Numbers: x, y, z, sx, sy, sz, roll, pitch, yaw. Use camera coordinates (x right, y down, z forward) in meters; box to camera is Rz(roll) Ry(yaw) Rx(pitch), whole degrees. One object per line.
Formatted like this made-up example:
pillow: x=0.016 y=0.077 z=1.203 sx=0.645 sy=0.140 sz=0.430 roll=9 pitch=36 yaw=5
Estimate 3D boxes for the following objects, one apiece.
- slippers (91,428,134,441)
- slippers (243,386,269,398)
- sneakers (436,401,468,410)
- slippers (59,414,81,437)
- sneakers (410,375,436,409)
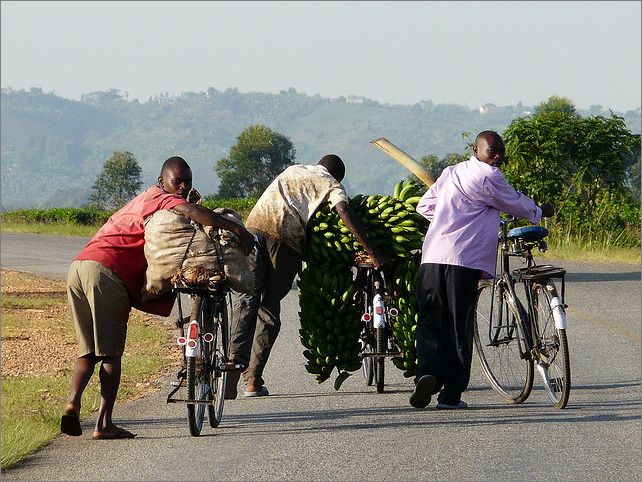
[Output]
slippers: x=-2.154 y=1.961 z=11.917 sx=0.328 sy=0.110 sz=0.164 roll=0 pitch=-3 yaw=-14
slippers: x=-0.741 y=1.710 z=13.085 sx=0.112 sy=0.127 sz=0.292 roll=-3 pitch=-10 yaw=34
sneakers: x=1.434 y=1.813 z=12.664 sx=0.320 sy=0.121 sz=0.116 roll=-1 pitch=0 yaw=-13
slippers: x=-2.553 y=1.876 z=11.717 sx=0.203 sy=0.321 sz=0.265 roll=-3 pitch=10 yaw=-13
sneakers: x=1.085 y=1.614 z=12.427 sx=0.198 sy=0.405 sz=0.169 roll=14 pitch=9 yaw=-11
